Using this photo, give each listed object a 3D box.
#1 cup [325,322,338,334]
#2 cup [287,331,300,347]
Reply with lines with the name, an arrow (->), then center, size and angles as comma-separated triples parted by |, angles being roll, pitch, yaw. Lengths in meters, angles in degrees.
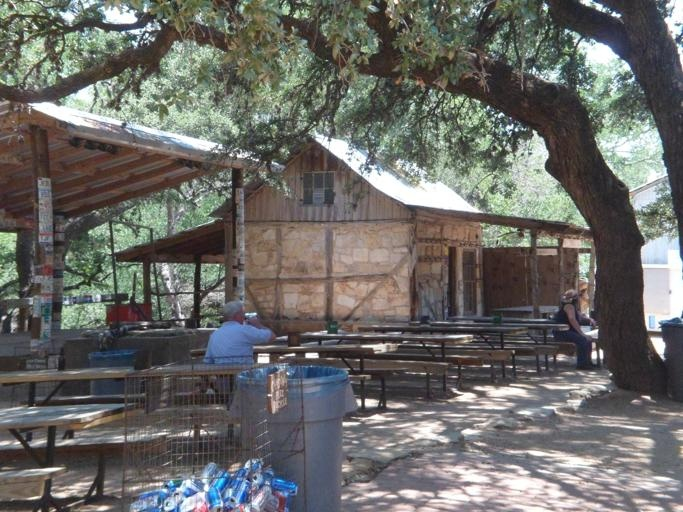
cup -> -0.157, 1.145, 10.851 | 0.209, 0.206, 0.202 | 1, -2, 0
cup -> -0.738, 1.298, 10.593 | 0.209, 0.207, 0.212 | 0, 2, 0
